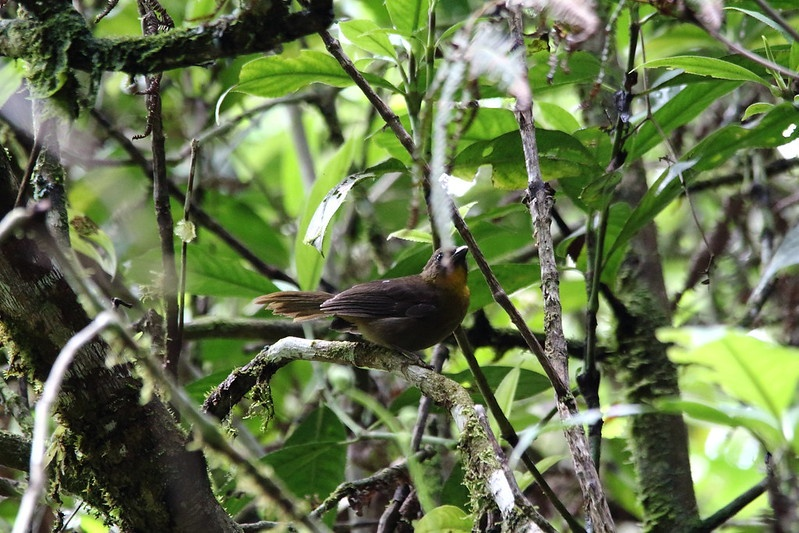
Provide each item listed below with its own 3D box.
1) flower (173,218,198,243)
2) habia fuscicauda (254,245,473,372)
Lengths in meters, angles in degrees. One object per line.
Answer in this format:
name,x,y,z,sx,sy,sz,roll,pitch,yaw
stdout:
flower,-0.871,-0.135,3.688,0.100,0.104,0.049,-9,2,-34
habia fuscicauda,-0.036,0.188,4.499,1.460,0.787,0.460,0,-7,8
